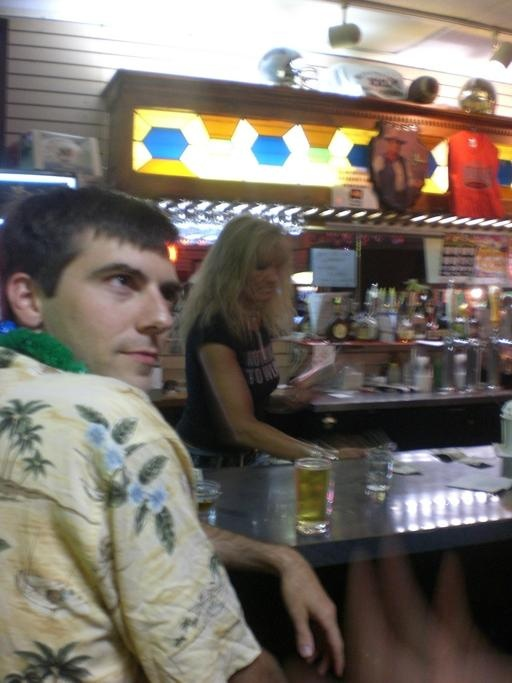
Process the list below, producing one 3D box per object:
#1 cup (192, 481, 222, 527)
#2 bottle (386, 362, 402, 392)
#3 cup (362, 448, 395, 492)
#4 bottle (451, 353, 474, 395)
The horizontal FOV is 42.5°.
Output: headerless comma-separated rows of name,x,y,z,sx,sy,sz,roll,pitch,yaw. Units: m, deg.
cup,-0.136,0.389,1.589,0.101,0.090,0.094,-7,-18,-2
bottle,0.962,0.216,4.588,0.101,0.143,0.191,0,1,10
cup,0.336,0.367,1.844,0.117,0.100,0.105,1,-10,-5
bottle,1.381,0.198,4.418,0.112,0.256,0.152,0,1,31
